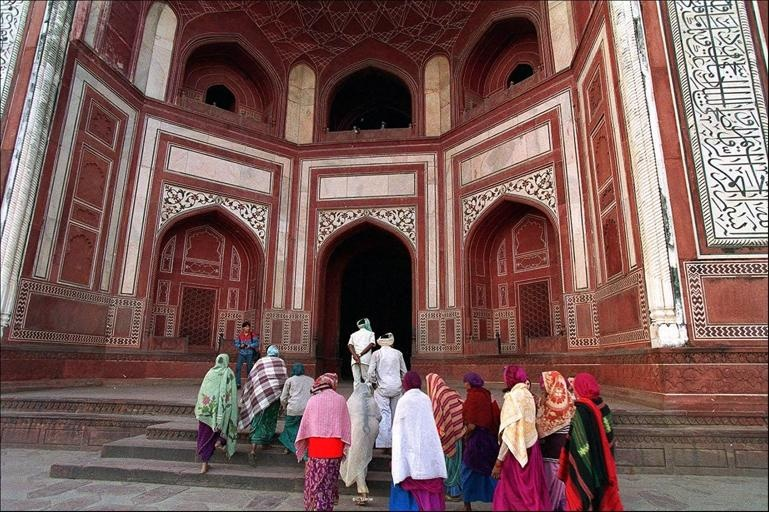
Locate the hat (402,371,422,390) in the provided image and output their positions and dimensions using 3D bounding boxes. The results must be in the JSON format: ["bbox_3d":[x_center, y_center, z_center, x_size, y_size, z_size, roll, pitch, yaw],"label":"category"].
[{"bbox_3d":[0.243,1.094,4.187,0.158,0.193,0.198,4,-4,-4],"label":"hat"}]

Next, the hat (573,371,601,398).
[{"bbox_3d":[1.702,1.093,4.007,0.198,0.211,0.139,-5,-15,11],"label":"hat"}]
